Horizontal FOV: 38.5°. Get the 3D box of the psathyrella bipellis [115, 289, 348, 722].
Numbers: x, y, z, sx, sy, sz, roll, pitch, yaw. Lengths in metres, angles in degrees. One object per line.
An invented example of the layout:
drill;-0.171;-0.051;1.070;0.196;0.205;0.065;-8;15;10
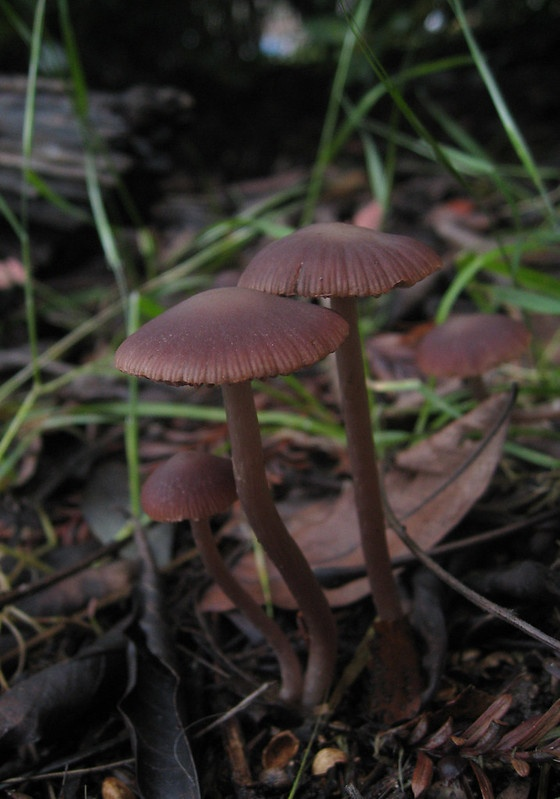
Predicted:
psathyrella bipellis;-0.072;0.178;1.552;0.386;0.740;0.445;5;37;31
